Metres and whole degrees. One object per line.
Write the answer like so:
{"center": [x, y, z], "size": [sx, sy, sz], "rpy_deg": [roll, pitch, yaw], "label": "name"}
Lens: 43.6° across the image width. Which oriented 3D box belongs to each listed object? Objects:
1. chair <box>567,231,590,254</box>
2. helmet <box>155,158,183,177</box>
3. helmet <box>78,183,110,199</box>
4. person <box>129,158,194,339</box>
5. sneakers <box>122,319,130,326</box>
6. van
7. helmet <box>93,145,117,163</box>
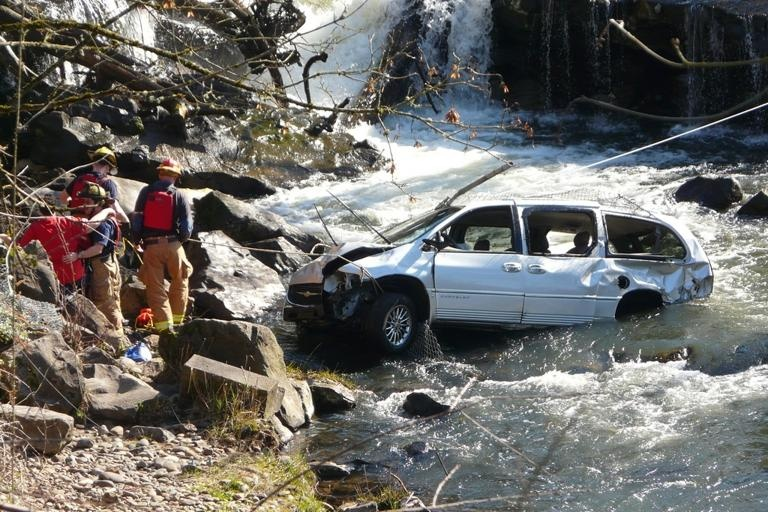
{"center": [3.473, -0.238, 16.679], "size": [0.422, 0.461, 0.410], "rpy_deg": [1, -1, -40], "label": "chair"}
{"center": [-3.555, -1.450, 16.228], "size": [0.362, 0.153, 0.366], "rpy_deg": [19, 10, 37], "label": "helmet"}
{"center": [-4.580, -1.013, 15.340], "size": [0.466, 0.222, 0.339], "rpy_deg": [4, 4, -3], "label": "helmet"}
{"center": [-3.732, -0.195, 16.245], "size": [0.982, 2.870, 0.541], "rpy_deg": [0, 3, -12], "label": "person"}
{"center": [-4.394, 1.136, 16.434], "size": [0.130, 0.078, 0.124], "rpy_deg": [0, -4, 3], "label": "sneakers"}
{"center": [2.020, 0.301, 17.164], "size": [6.956, 2.175, 2.955], "rpy_deg": [1, 1, -9], "label": "van"}
{"center": [-4.550, -1.647, 15.715], "size": [0.442, 0.187, 0.496], "rpy_deg": [20, 10, 6], "label": "helmet"}
